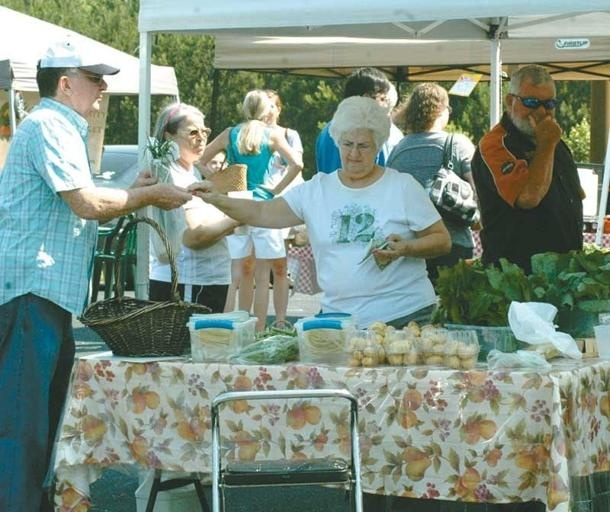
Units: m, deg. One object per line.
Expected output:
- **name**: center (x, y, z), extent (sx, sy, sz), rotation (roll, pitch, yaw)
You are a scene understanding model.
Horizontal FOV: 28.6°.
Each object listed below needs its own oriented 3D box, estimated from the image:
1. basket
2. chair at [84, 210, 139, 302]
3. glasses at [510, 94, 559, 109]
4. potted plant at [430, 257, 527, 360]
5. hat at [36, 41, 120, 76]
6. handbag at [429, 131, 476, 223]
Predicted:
- **basket**: center (-0.806, 0.157, 5.906), extent (0.527, 0.711, 0.622), rotation (-6, -5, 39)
- **chair**: center (-1.728, 0.059, 10.490), extent (0.395, 0.654, 0.440), rotation (8, 13, 15)
- **glasses**: center (1.267, -0.820, 6.493), extent (0.247, 0.082, 0.120), rotation (0, 4, -1)
- **potted plant**: center (0.827, 0.247, 5.695), extent (0.428, 0.445, 0.437), rotation (0, 0, -23)
- **hat**: center (-1.153, -0.978, 6.021), extent (0.293, 0.122, 0.191), rotation (5, 16, -9)
- **handbag**: center (0.949, -0.495, 7.298), extent (0.231, 0.565, 0.377), rotation (10, -4, 35)
